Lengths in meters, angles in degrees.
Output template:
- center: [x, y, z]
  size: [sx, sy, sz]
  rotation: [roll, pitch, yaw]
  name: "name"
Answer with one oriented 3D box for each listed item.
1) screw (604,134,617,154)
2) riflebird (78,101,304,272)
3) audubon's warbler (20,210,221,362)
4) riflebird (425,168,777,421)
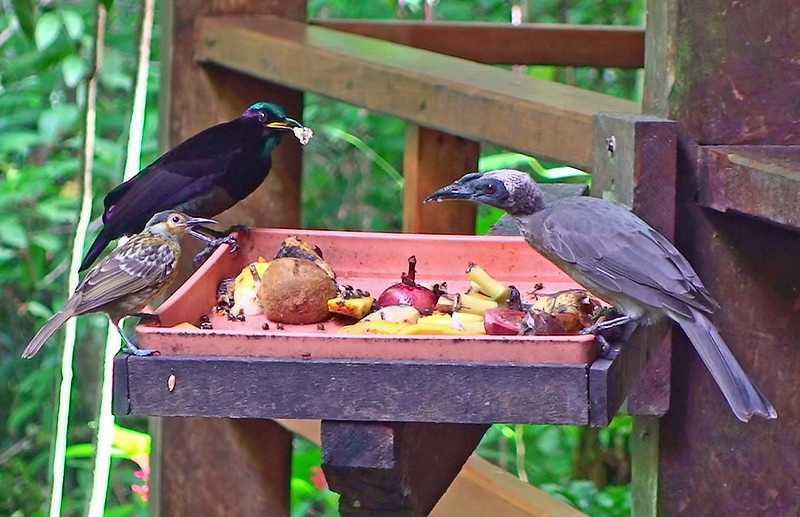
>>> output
- center: [0.559, -0.302, 2.394]
  size: [0.028, 0.048, 0.007]
  rotation: [8, 23, 23]
  name: "screw"
- center: [-0.626, -0.219, 2.694]
  size: [0.690, 0.467, 0.275]
  rotation: [-4, 12, -3]
  name: "riflebird"
- center: [-0.684, 0.055, 2.201]
  size: [0.438, 0.332, 0.200]
  rotation: [-3, 3, -30]
  name: "audubon's warbler"
- center: [0.477, 0.074, 2.113]
  size: [0.784, 0.508, 0.316]
  rotation: [13, 26, 33]
  name: "riflebird"
